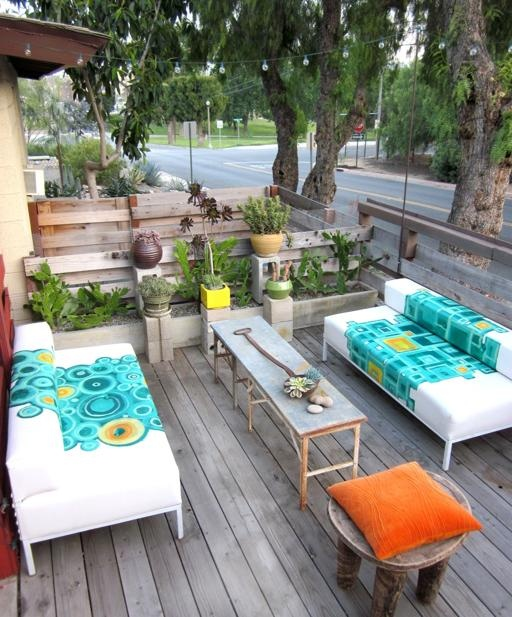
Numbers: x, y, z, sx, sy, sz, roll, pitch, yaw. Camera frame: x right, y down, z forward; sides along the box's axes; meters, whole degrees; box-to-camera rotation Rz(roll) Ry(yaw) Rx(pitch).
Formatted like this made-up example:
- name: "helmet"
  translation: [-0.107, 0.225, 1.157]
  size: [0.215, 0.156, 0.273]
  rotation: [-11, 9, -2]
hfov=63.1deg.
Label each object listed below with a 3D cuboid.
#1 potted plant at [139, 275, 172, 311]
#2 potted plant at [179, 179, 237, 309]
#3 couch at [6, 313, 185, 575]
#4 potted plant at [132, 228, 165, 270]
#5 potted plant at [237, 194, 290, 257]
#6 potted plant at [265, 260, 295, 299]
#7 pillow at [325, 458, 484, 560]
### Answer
- name: "potted plant"
  translation: [-1.043, -0.122, 4.306]
  size: [0.340, 0.363, 0.348]
  rotation: [3, 13, 8]
- name: "potted plant"
  translation: [-0.603, -0.852, 5.049]
  size: [0.647, 1.324, 1.767]
  rotation: [-3, 20, -6]
- name: "couch"
  translation: [-0.956, 0.725, 2.440]
  size: [0.761, 0.888, 1.320]
  rotation: [-9, 22, -23]
- name: "potted plant"
  translation: [-1.207, -0.659, 4.602]
  size: [0.337, 0.427, 0.334]
  rotation: [-5, 23, -31]
- name: "potted plant"
  translation: [0.069, -1.028, 5.068]
  size: [0.718, 0.829, 0.686]
  rotation: [-3, 17, -11]
- name: "potted plant"
  translation: [0.267, -0.300, 4.662]
  size: [0.291, 0.399, 0.279]
  rotation: [-7, 5, -19]
- name: "pillow"
  translation: [0.525, 0.761, 1.649]
  size: [0.358, 0.107, 0.342]
  rotation: [-8, 21, -22]
